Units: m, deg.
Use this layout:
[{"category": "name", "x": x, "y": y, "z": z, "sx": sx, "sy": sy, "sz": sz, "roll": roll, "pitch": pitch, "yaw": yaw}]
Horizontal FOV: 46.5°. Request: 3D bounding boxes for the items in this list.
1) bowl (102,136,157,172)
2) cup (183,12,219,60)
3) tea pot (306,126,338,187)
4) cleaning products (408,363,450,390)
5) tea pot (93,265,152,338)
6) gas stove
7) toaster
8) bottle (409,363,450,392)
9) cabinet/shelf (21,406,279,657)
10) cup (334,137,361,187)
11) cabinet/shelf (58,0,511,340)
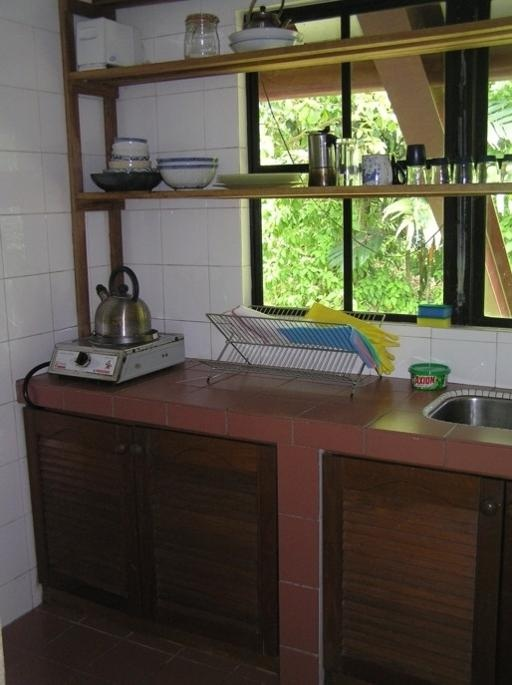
[{"category": "bowl", "x": -0.461, "y": -0.669, "z": 2.148, "sx": 0.155, "sy": 0.098, "sz": 0.151, "roll": 0, "pitch": 6, "yaw": 0}, {"category": "cup", "x": -0.159, "y": -0.960, "z": 1.923, "sx": 0.154, "sy": 0.153, "sz": 0.147, "roll": 0, "pitch": 10, "yaw": 0}, {"category": "tea pot", "x": 0.195, "y": -0.542, "z": 1.773, "sx": 0.088, "sy": 0.150, "sz": 0.092, "roll": -2, "pitch": 7, "yaw": 0}, {"category": "cleaning products", "x": 0.534, "y": 0.098, "z": 1.816, "sx": 0.092, "sy": 0.056, "sz": 0.092, "roll": 3, "pitch": 6, "yaw": 38}, {"category": "tea pot", "x": -0.476, "y": -0.145, "z": 2.125, "sx": 0.219, "sy": 0.238, "sz": 0.233, "roll": 2, "pitch": 13, "yaw": 0}, {"category": "gas stove", "x": -0.485, "y": 0.044, "z": 2.152, "sx": 0.375, "sy": 0.116, "sz": 0.405, "roll": 6, "pitch": 13, "yaw": 40}, {"category": "toaster", "x": -0.526, "y": -1.087, "z": 2.186, "sx": 0.139, "sy": 0.160, "sz": 0.241, "roll": 8, "pitch": 25, "yaw": 21}, {"category": "bottle", "x": 0.528, "y": 0.098, "z": 1.817, "sx": 0.094, "sy": 0.058, "sz": 0.094, "roll": -2, "pitch": 5, "yaw": 0}, {"category": "cabinet/shelf", "x": -0.248, "y": 0.558, "z": 2.092, "sx": 0.967, "sy": 0.679, "sz": 0.532, "roll": 2, "pitch": 7, "yaw": 28}, {"category": "cup", "x": 0.273, "y": -0.535, "z": 1.769, "sx": 0.076, "sy": 0.144, "sz": 0.052, "roll": 5, "pitch": 9, "yaw": 43}, {"category": "cabinet/shelf", "x": -0.036, "y": -0.633, "z": 1.975, "sx": 1.436, "sy": 1.255, "sz": 0.329, "roll": 2, "pitch": 8, "yaw": 29}]
